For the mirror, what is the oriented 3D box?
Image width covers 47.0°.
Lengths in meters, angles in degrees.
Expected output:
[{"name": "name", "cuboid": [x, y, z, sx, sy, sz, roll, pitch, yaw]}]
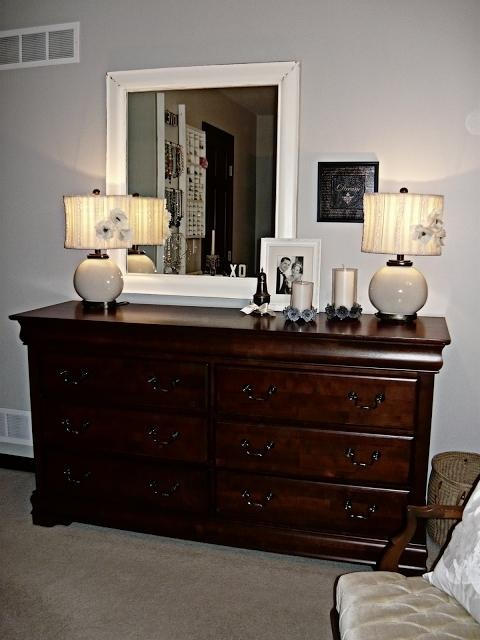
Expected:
[{"name": "mirror", "cuboid": [-0.122, -0.582, 2.303, 1.007, 1.180, 0.055, 4, 10, 23]}]

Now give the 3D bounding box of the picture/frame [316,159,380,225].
[{"name": "picture/frame", "cuboid": [0.427, -0.507, 2.154, 0.304, 0.295, 0.032, 2, 13, 13]}]

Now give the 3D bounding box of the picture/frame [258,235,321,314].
[{"name": "picture/frame", "cuboid": [0.195, -0.172, 2.176, 0.297, 0.352, 0.017, 1, 5, 13]}]

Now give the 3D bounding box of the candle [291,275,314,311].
[{"name": "candle", "cuboid": [0.230, -0.092, 2.058, 0.101, 0.113, 0.101, -2, 10, -13]}]

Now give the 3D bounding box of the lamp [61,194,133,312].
[{"name": "lamp", "cuboid": [-0.600, -0.289, 2.285, 0.240, 0.492, 0.300, 0, 7, -12]}]

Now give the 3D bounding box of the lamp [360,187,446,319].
[{"name": "lamp", "cuboid": [0.553, -0.227, 1.936, 0.298, 0.461, 0.177, 4, 7, 24]}]
